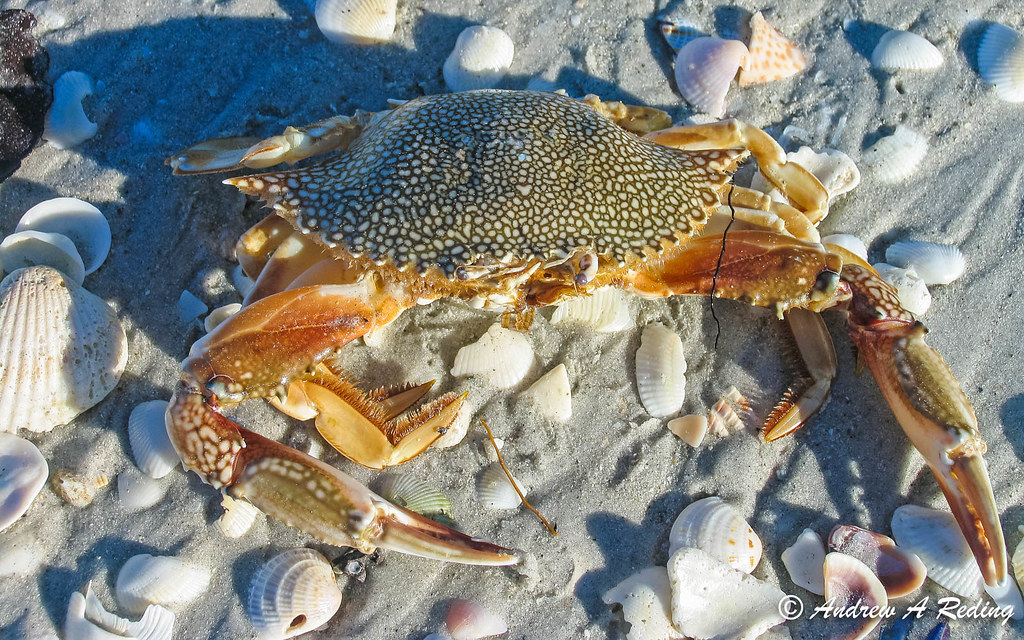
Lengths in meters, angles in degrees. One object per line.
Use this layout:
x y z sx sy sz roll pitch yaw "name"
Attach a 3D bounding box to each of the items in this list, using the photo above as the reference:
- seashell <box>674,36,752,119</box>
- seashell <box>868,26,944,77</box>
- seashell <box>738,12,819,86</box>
1.339 -1.689 7.850 0.463 0.349 0.555 -1 90 22 "seashell"
2.728 -1.844 7.916 0.503 0.098 0.272 6 75 -4 "seashell"
1.828 -1.815 7.935 0.478 0.144 0.499 14 75 -2 "seashell"
